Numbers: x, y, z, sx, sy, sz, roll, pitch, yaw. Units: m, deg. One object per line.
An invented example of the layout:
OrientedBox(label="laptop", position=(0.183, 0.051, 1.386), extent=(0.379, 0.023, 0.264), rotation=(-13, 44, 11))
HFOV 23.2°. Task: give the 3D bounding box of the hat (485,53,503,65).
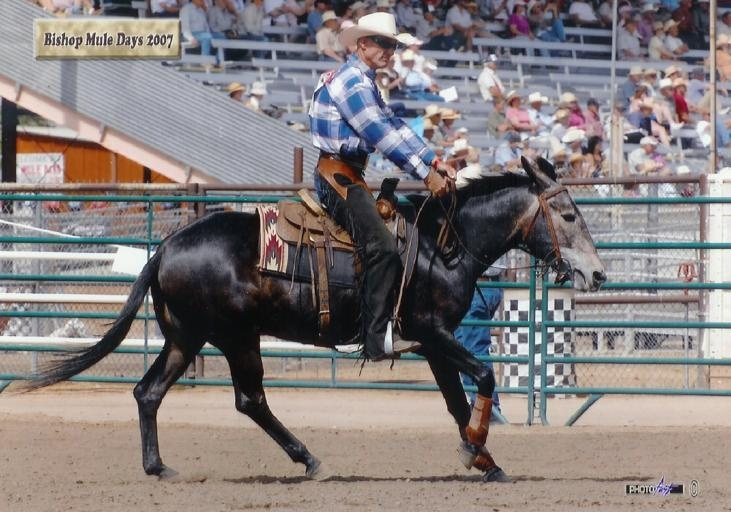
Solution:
OrientedBox(label="hat", position=(2.758, -4.146, 38.187), extent=(0.411, 0.167, 0.542), rotation=(-1, -2, 1))

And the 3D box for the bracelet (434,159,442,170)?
OrientedBox(label="bracelet", position=(1.027, -1.249, 24.793), extent=(0.066, 0.165, 0.182), rotation=(4, 15, 32))

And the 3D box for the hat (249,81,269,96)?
OrientedBox(label="hat", position=(-2.162, -3.334, 35.930), extent=(0.294, 0.295, 0.231), rotation=(-13, 21, -31))

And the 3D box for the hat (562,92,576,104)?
OrientedBox(label="hat", position=(4.150, -3.166, 36.174), extent=(0.291, 0.125, 0.326), rotation=(-3, 2, -3))

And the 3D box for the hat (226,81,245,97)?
OrientedBox(label="hat", position=(-2.605, -3.304, 35.530), extent=(0.300, 0.165, 0.269), rotation=(-21, -5, 15))
